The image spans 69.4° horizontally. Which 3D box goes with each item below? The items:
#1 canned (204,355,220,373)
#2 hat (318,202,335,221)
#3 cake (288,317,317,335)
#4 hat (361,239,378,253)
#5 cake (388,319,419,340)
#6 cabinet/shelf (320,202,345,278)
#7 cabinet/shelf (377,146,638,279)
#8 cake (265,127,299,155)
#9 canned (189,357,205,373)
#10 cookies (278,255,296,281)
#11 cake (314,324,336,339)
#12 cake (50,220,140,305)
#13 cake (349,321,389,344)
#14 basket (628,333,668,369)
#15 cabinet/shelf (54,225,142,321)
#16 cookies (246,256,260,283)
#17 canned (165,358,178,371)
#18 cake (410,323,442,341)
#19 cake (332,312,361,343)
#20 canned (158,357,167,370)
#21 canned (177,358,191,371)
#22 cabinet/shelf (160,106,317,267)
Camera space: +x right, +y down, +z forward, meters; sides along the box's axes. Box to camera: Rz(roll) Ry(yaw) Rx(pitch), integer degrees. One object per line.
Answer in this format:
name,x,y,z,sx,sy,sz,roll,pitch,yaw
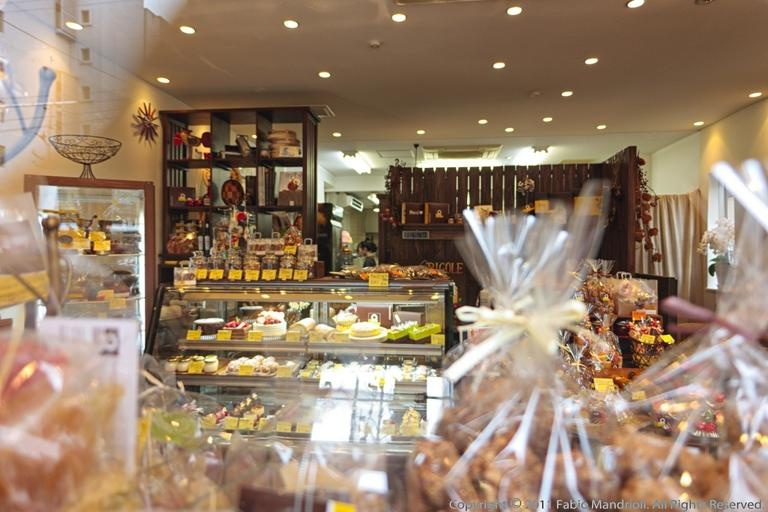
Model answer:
canned,-1.028,0.647,3.338,0.087,0.066,0.082,0,-1,4
hat,-0.614,-0.456,5.807,0.145,0.189,0.086,2,0,-24
cake,-0.492,0.423,3.338,0.090,0.044,0.133,0,5,15
hat,-0.231,-0.133,7.748,0.176,0.185,0.232,-7,8,-38
cake,0.111,0.439,3.242,0.203,0.063,0.100,-17,5,-40
cabinet/shelf,-0.592,-0.205,6.107,0.266,0.725,1.282,2,1,-4
cabinet/shelf,1.412,-0.472,6.849,3.189,1.615,1.004,2,0,24
cake,-0.975,-1.115,5.435,0.297,0.133,0.290,0,6,-8
canned,-1.111,0.656,3.296,0.081,0.068,0.076,2,-6,-7
cookies,-0.622,0.070,3.557,0.109,0.157,0.429,2,1,-10
cake,-0.357,0.448,3.306,0.088,0.029,0.088,18,26,31
cake,-1.965,0.038,3.759,0.365,0.609,0.685,-3,-5,30
cake,-0.093,0.445,3.267,0.234,0.114,0.110,2,1,-1
basket,1.521,0.547,3.220,0.227,0.152,0.215,1,-1,2
cabinet/shelf,-2.175,0.144,4.119,0.465,0.701,0.948,2,1,2
cookies,-0.841,0.073,3.531,0.099,0.154,0.424,2,1,-14
canned,-1.251,0.648,3.279,0.049,0.066,0.079,0,-6,17
cake,0.243,0.442,3.229,0.192,0.101,0.056,2,0,6
cake,-0.245,0.425,3.275,0.134,0.162,0.057,1,-21,14
canned,-1.292,0.633,3.249,0.052,0.049,0.051,3,-6,-43
canned,-1.197,0.653,3.305,0.064,0.050,0.060,2,-6,-11
cabinet/shelf,-1.369,-0.652,5.089,1.780,1.713,0.632,0,-2,-3
